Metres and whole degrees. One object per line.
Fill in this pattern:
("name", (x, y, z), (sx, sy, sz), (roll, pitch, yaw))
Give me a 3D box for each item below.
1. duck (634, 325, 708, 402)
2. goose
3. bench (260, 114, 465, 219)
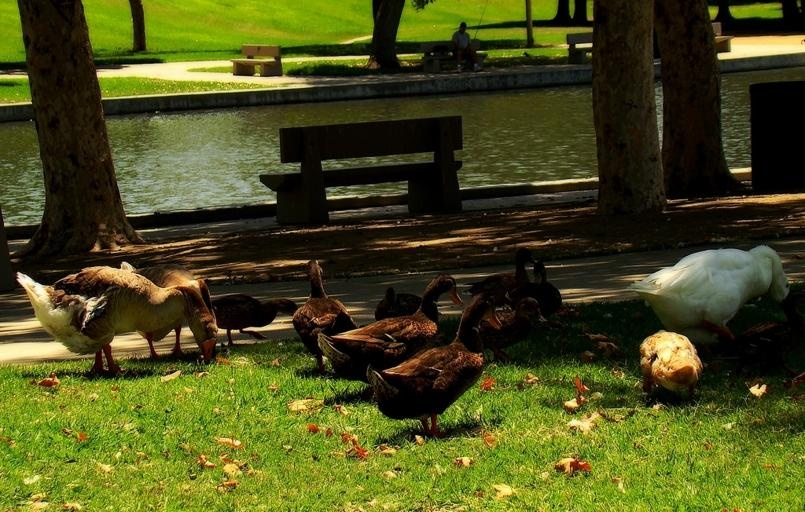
("duck", (3.487, 1.393, 18.816), (0.596, 0.621, 1.061), (-1, 30, 1))
("goose", (4.177, 0.566, 19.603), (2.115, 1.146, 0.743), (-9, 19, -19))
("bench", (-0.757, -1.675, 28.900), (4.154, 1.732, 1.435), (-7, 4, -35))
